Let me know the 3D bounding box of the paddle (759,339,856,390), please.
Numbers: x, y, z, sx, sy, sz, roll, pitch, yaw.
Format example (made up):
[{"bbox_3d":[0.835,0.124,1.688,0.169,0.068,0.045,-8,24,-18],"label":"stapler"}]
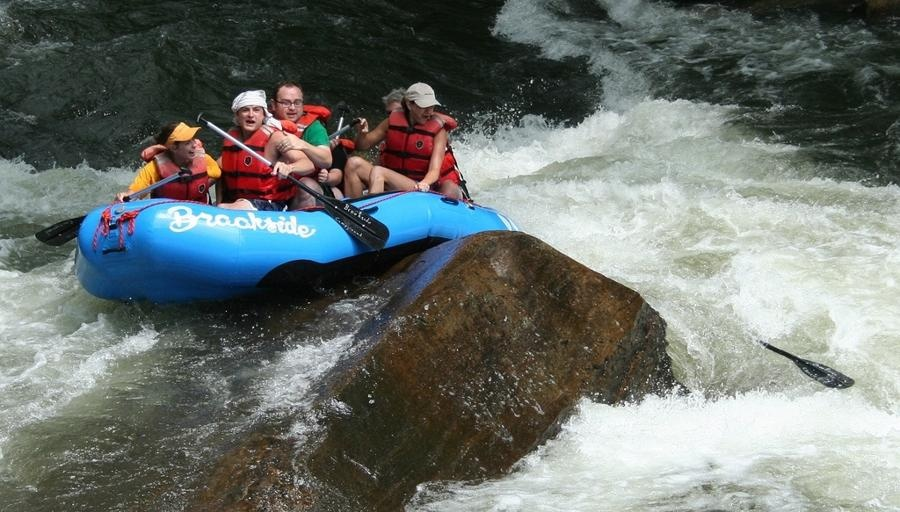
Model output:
[{"bbox_3d":[3.914,1.165,10.991,1.315,0.086,0.342,24,66,27],"label":"paddle"}]

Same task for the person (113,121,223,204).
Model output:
[{"bbox_3d":[-3.653,-1.170,12.457,1.165,1.272,0.457,-27,48,-29],"label":"person"}]

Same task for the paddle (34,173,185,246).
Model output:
[{"bbox_3d":[-4.239,-0.548,11.958,2.379,0.316,0.243,-23,5,-6],"label":"paddle"}]

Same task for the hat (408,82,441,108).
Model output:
[{"bbox_3d":[-0.385,-2.080,12.465,0.440,0.204,0.307,20,23,37],"label":"hat"}]

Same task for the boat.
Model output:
[{"bbox_3d":[-2.006,-0.127,11.349,3.699,0.727,2.043,-6,6,-28],"label":"boat"}]

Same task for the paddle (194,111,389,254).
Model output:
[{"bbox_3d":[-1.908,-0.836,11.639,3.237,0.202,0.420,32,71,-1],"label":"paddle"}]
